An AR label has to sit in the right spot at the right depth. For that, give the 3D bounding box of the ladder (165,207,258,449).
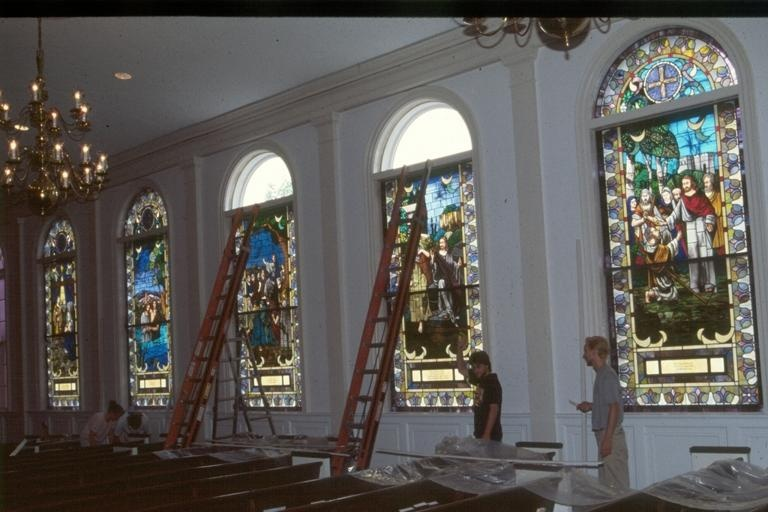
[{"bbox_3d":[-2.301,0.820,13.285,1.159,3.471,2.031,1,-12,-11],"label":"ladder"}]

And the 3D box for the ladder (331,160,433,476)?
[{"bbox_3d":[-0.014,0.706,12.285,1.249,3.860,1.593,-2,-12,2],"label":"ladder"}]
